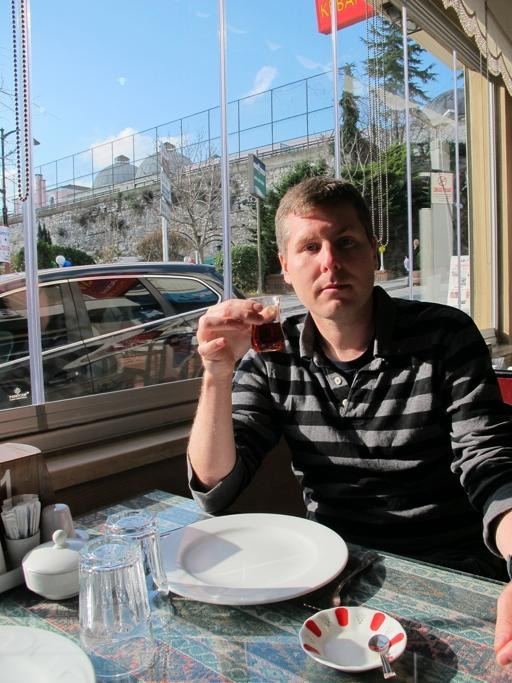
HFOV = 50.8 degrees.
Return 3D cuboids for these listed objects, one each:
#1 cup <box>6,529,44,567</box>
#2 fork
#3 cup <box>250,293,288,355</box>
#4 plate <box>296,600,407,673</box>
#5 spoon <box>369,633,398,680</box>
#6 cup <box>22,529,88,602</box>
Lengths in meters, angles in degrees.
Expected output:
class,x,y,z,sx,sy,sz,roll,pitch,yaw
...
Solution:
class,x,y,z,sx,sy,sz,roll,pitch,yaw
cup,-0.361,0.330,0.854,0.040,0.042,0.040,-1,-4,0
fork,0.128,0.329,0.788,0.041,0.025,0.194,3,3,24
cup,0.027,-0.040,1.222,0.069,0.125,0.153,-1,4,3
plate,0.113,0.350,0.631,0.119,0.021,0.118,1,4,22
spoon,0.144,0.353,0.602,0.015,0.008,0.061,-15,-6,7
cup,-0.279,0.328,0.806,0.086,0.069,0.109,1,-6,5
